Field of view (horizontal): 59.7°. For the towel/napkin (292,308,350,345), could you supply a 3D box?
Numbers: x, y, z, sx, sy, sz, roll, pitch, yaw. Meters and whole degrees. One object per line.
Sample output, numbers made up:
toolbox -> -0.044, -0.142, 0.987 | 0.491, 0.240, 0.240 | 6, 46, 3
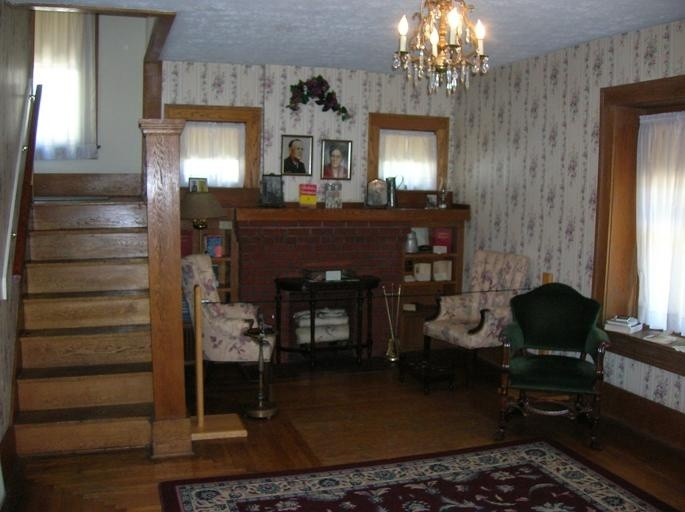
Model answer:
towel/napkin -> -0.232, 0.851, 7.294 | 0.521, 0.184, 0.494 | -1, 3, -15

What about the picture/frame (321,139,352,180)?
picture/frame -> -0.104, -1.264, 7.679 | 0.571, 0.625, 0.043 | -1, 6, -20

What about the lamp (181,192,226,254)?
lamp -> -1.609, -0.373, 6.918 | 0.464, 0.765, 0.757 | -2, 10, -13

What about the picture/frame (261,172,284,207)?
picture/frame -> -0.853, -0.791, 7.215 | 0.278, 0.390, 0.156 | -3, 10, -16

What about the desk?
desk -> -0.242, 0.833, 7.158 | 1.235, 0.828, 0.528 | -1, 2, -22

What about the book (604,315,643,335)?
book -> 2.719, 0.668, 5.845 | 0.213, 0.086, 0.205 | -2, 5, -39
